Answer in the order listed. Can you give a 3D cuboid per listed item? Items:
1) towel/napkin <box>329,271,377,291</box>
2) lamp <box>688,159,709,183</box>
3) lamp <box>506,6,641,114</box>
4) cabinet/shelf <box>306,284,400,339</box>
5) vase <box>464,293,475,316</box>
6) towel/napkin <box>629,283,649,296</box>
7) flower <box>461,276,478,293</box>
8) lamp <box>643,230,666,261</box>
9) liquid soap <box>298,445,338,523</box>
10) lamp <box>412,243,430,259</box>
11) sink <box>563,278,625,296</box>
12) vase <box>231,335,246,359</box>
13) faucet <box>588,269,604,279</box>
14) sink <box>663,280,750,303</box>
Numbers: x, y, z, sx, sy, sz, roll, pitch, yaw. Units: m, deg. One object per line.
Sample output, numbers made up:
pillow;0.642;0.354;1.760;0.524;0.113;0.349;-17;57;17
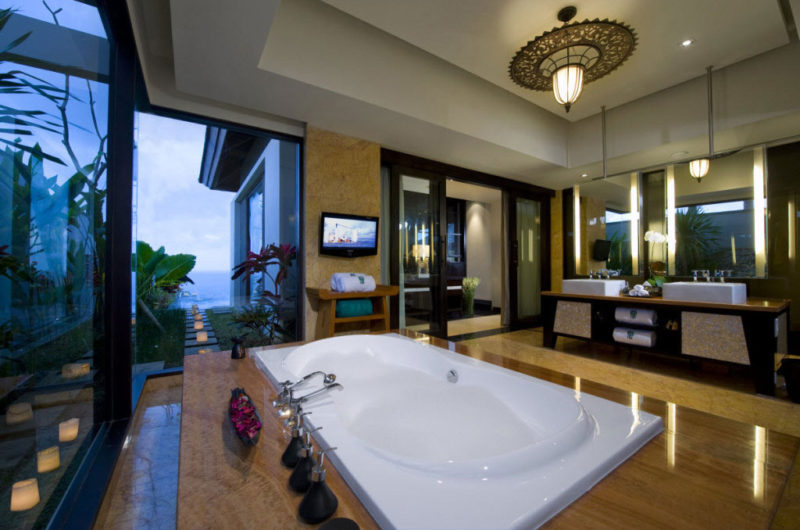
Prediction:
towel/napkin;-0.489;0.174;5.302;0.457;0.178;0.232;-1;0;-15
lamp;3.433;-1.089;5.829;0.196;0.260;0.201;0;4;43
lamp;1.535;-1.858;4.572;0.889;0.863;0.921;10;-19;-18
cabinet/shelf;-0.502;0.509;5.409;0.855;0.647;0.477;-1;5;-24
vase;1.202;0.691;8.905;0.135;0.360;0.289;-1;0;1
towel/napkin;2.646;0.271;5.589;0.169;0.070;0.125;-12;22;-38
flower;1.225;0.346;9.023;0.251;0.298;0.258;0;0;44
lamp;3.089;-0.224;6.172;0.261;0.413;0.133;-1;0;44
liquid soap;-0.453;1.195;2.768;0.201;0.350;0.174;-1;0;-40
lamp;0.262;-0.171;6.374;0.268;0.181;0.050;-1;0;-44
sink;2.231;0.253;5.941;0.670;0.193;0.418;-1;0;25
vase;-1.283;0.663;4.124;0.159;0.192;0.158;1;-3;-29
faucet;2.527;0.119;6.523;0.213;0.122;0.226;0;1;14
sink;3.039;0.267;5.117;0.393;0.238;0.691;-1;0;-43
